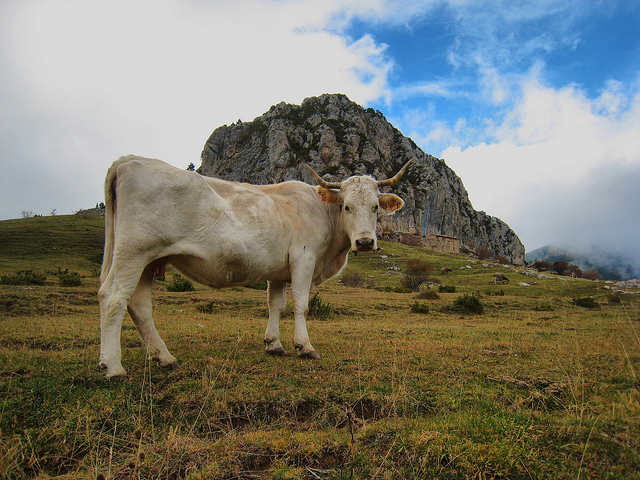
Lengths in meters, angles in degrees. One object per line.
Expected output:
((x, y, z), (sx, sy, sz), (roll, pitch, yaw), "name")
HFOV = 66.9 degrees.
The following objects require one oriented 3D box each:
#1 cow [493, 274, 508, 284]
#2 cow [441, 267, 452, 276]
((13.939, 2.992, 37.668), (1.053, 0.869, 0.626), (-2, 5, 9), "cow")
((12.031, 3.000, 46.600), (1.227, 0.719, 0.459), (-3, 3, -44), "cow")
